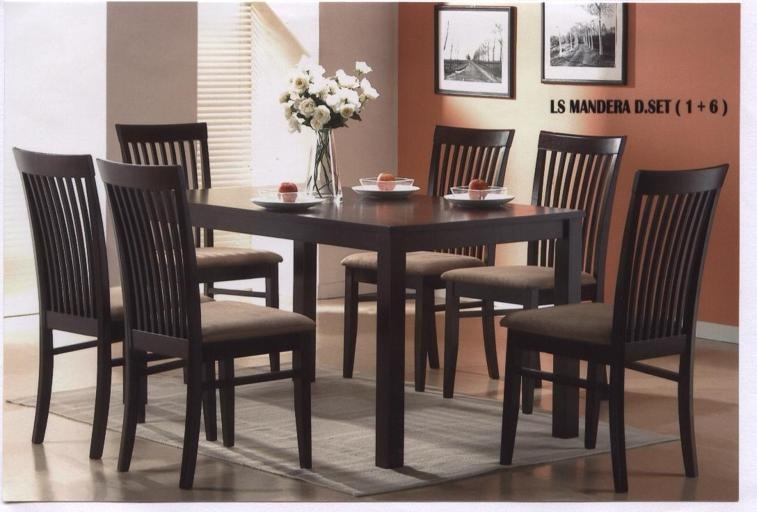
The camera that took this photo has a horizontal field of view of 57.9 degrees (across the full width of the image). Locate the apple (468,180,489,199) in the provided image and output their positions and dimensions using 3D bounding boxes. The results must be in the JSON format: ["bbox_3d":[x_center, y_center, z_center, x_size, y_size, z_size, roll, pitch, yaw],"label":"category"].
[{"bbox_3d":[0.488,-0.320,3.215,0.095,0.106,0.090,4,12,-7],"label":"apple"}]

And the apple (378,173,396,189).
[{"bbox_3d":[0.045,-0.396,3.544,0.084,0.078,0.082,4,0,9],"label":"apple"}]

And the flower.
[{"bbox_3d":[-0.243,-0.624,3.440,0.453,0.630,0.440,0,11,-25],"label":"flower"}]

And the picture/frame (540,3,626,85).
[{"bbox_3d":[1.455,-1.497,4.769,0.667,0.643,0.027,5,11,42],"label":"picture/frame"}]

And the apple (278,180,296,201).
[{"bbox_3d":[-0.416,-0.307,3.159,0.089,0.102,0.090,10,14,37],"label":"apple"}]

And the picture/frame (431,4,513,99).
[{"bbox_3d":[0.767,-1.629,5.378,0.793,0.722,0.063,10,11,40],"label":"picture/frame"}]

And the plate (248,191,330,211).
[{"bbox_3d":[-0.412,-0.255,3.117,0.305,0.073,0.226,-1,9,-5],"label":"plate"}]
